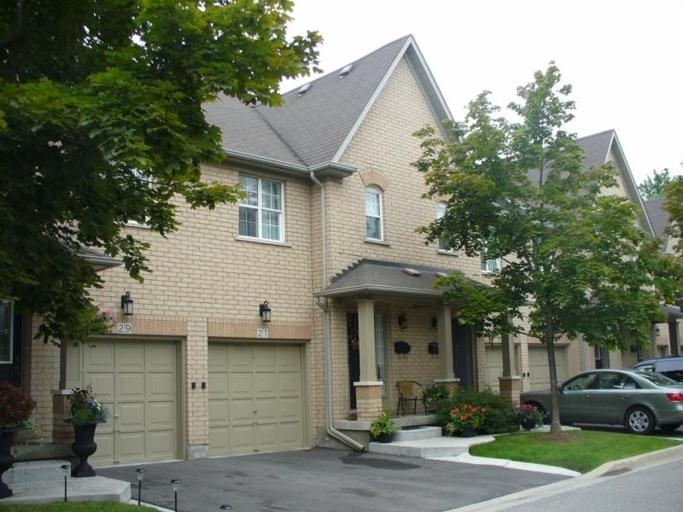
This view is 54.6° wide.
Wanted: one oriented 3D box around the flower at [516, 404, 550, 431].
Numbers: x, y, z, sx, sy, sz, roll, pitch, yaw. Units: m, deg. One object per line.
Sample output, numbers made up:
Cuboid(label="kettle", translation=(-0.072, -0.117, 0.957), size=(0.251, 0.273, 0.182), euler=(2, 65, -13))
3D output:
Cuboid(label="flower", translation=(5.678, 4.858, 20.245), size=(1.032, 0.837, 0.965), euler=(7, -11, -40))

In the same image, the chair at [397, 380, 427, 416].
Cuboid(label="chair", translation=(2.145, 4.221, 19.942), size=(0.621, 1.021, 1.308), euler=(-11, -17, 36))

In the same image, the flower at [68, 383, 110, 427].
Cuboid(label="flower", translation=(-5.161, 3.117, 13.983), size=(0.915, 0.901, 0.736), euler=(10, -24, -38))

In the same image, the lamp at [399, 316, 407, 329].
Cuboid(label="lamp", translation=(1.924, 2.013, 20.487), size=(0.130, 0.393, 0.374), euler=(-12, -18, 38))

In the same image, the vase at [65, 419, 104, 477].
Cuboid(label="vase", translation=(-5.215, 3.892, 13.411), size=(0.475, 1.049, 0.984), euler=(7, -16, -28))

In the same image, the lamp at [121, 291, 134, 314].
Cuboid(label="lamp", translation=(-4.998, 1.082, 15.566), size=(0.342, 0.591, 0.239), euler=(10, -18, -36))

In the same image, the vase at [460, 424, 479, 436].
Cuboid(label="vase", translation=(3.505, 4.710, 18.135), size=(0.451, 0.278, 0.437), euler=(0, -5, 9))

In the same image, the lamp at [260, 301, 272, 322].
Cuboid(label="lamp", translation=(-2.035, 1.470, 17.956), size=(0.359, 0.605, 0.229), euler=(6, -16, -24))

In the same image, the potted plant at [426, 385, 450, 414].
Cuboid(label="potted plant", translation=(2.787, 4.129, 19.414), size=(0.843, 0.836, 0.887), euler=(-1, -7, 8))

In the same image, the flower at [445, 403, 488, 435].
Cuboid(label="flower", translation=(3.389, 4.466, 18.117), size=(0.981, 0.798, 0.941), euler=(-1, -7, 18))

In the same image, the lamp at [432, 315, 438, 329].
Cuboid(label="lamp", translation=(3.014, 2.130, 21.500), size=(0.133, 0.381, 0.206), euler=(-3, -15, 11))

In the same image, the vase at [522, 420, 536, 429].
Cuboid(label="vase", translation=(5.638, 5.034, 19.860), size=(0.352, 0.231, 0.315), euler=(0, -8, 6))

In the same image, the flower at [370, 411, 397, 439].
Cuboid(label="flower", translation=(1.077, 4.465, 17.441), size=(0.694, 0.607, 0.670), euler=(-6, -10, 34))
